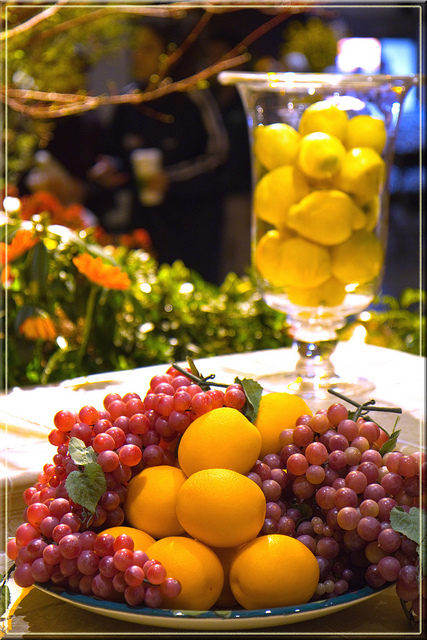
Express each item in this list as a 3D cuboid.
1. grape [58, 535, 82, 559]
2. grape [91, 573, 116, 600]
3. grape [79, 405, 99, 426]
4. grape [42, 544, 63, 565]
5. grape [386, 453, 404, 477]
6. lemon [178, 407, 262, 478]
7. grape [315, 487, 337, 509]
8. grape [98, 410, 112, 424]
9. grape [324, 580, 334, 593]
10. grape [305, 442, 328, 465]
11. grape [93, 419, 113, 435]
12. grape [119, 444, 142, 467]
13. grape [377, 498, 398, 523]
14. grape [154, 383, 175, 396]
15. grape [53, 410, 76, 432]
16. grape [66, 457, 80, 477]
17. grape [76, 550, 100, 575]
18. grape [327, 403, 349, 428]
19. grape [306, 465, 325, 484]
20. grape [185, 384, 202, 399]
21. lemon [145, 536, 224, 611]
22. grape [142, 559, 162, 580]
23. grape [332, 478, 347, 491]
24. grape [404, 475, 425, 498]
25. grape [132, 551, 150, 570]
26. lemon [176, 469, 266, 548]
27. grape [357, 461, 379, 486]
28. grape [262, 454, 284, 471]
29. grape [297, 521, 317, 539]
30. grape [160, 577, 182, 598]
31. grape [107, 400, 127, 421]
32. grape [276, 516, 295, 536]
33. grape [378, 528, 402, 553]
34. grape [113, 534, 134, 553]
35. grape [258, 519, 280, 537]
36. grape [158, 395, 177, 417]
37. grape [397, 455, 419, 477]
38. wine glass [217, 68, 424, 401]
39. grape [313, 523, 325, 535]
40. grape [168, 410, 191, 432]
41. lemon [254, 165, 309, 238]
[{"bbox_3d":[-0.070,0.113,0.331,0.012,0.012,0.011,2,5,5],"label":"grape"},{"bbox_3d":[-0.054,0.131,0.330,0.014,0.014,0.013,1,7,2],"label":"grape"},{"bbox_3d":[-0.073,0.055,0.384,0.012,0.011,0.011,0,4,6],"label":"grape"},{"bbox_3d":[-0.081,0.118,0.335,0.011,0.010,0.010,-2,-2,-6],"label":"grape"},{"bbox_3d":[0.101,0.081,0.370,0.012,0.012,0.011,2,2,2],"label":"grape"},{"bbox_3d":[0.001,0.067,0.359,0.036,0.035,0.036,1,4,43],"label":"lemon"},{"bbox_3d":[0.061,0.095,0.357,0.012,0.012,0.011,1,5,4],"label":"grape"},{"bbox_3d":[-0.064,0.058,0.393,0.007,0.007,0.007,0,-16,-4],"label":"grape"},{"bbox_3d":[0.059,0.136,0.337,0.005,0.005,0.003,3,-16,-1],"label":"grape"},{"bbox_3d":[0.057,0.073,0.363,0.013,0.012,0.012,-1,-2,6],"label":"grape"},{"bbox_3d":[-0.063,0.061,0.381,0.009,0.009,0.009,11,-3,-2],"label":"grape"},{"bbox_3d":[-0.045,0.074,0.358,0.013,0.012,0.011,3,-8,-8],"label":"grape"},{"bbox_3d":[0.093,0.101,0.352,0.010,0.010,0.011,0,3,24],"label":"grape"},{"bbox_3d":[-0.029,0.041,0.393,0.009,0.009,0.008,0,-38,1],"label":"grape"},{"bbox_3d":[-0.085,0.057,0.382,0.013,0.013,0.012,2,11,3],"label":"grape"},{"bbox_3d":[-0.076,0.080,0.360,0.007,0.008,0.007,-4,-17,-7],"label":"grape"},{"bbox_3d":[-0.062,0.120,0.331,0.012,0.012,0.011,1,3,6],"label":"grape"},{"bbox_3d":[0.073,0.056,0.387,0.014,0.014,0.013,-1,2,1],"label":"grape"},{"bbox_3d":[0.055,0.084,0.361,0.011,0.010,0.010,1,7,-12],"label":"grape"},{"bbox_3d":[-0.011,0.040,0.375,0.007,0.007,0.007,4,-19,-3],"label":"grape"},{"bbox_3d":[-0.010,0.123,0.319,0.036,0.032,0.040,19,-19,17],"label":"lemon"},{"bbox_3d":[-0.029,0.119,0.317,0.008,0.007,0.008,-13,29,5],"label":"grape"},{"bbox_3d":[0.069,0.090,0.362,0.006,0.006,0.005,0,8,0],"label":"grape"},{"bbox_3d":[0.109,0.091,0.362,0.012,0.012,0.011,6,-20,-5],"label":"grape"},{"bbox_3d":[-0.035,0.117,0.321,0.008,0.008,0.007,-1,2,13],"label":"grape"},{"bbox_3d":[0.011,0.095,0.337,0.048,0.031,0.034,6,-26,8],"label":"lemon"},{"bbox_3d":[0.086,0.085,0.365,0.012,0.012,0.011,-1,3,5],"label":"grape"},{"bbox_3d":[0.034,0.081,0.377,0.009,0.009,0.008,4,-33,-4],"label":"grape"},{"bbox_3d":[0.051,0.114,0.362,0.009,0.009,0.009,-3,9,1],"label":"grape"},{"bbox_3d":[-0.019,0.126,0.314,0.010,0.009,0.009,0,2,4],"label":"grape"},{"bbox_3d":[-0.056,0.055,0.399,0.012,0.012,0.011,0,-34,-5],"label":"grape"},{"bbox_3d":[0.039,0.110,0.352,0.010,0.010,0.009,6,-15,-2],"label":"grape"},{"bbox_3d":[0.090,0.113,0.341,0.013,0.012,0.011,1,5,4],"label":"grape"},{"bbox_3d":[-0.045,0.112,0.328,0.008,0.008,0.007,4,-20,3],"label":"grape"},{"bbox_3d":[0.029,0.108,0.343,0.008,0.007,0.010,-2,1,-8],"label":"grape"},{"bbox_3d":[-0.027,0.049,0.373,0.012,0.012,0.011,3,-2,-22],"label":"grape"},{"bbox_3d":[0.107,0.080,0.363,0.012,0.012,0.011,0,3,2],"label":"grape"},{"bbox_3d":[0.146,-0.113,0.756,0.231,0.382,0.227,-3,4,-13],"label":"wine glass"},{"bbox_3d":[0.058,0.114,0.359,0.006,0.006,0.004,-1,4,4],"label":"grape"},{"bbox_3d":[-0.019,0.056,0.372,0.013,0.013,0.012,2,5,5],"label":"grape"},{"bbox_3d":[0.067,-0.123,0.687,0.059,0.066,0.025,20,15,38],"label":"lemon"}]
